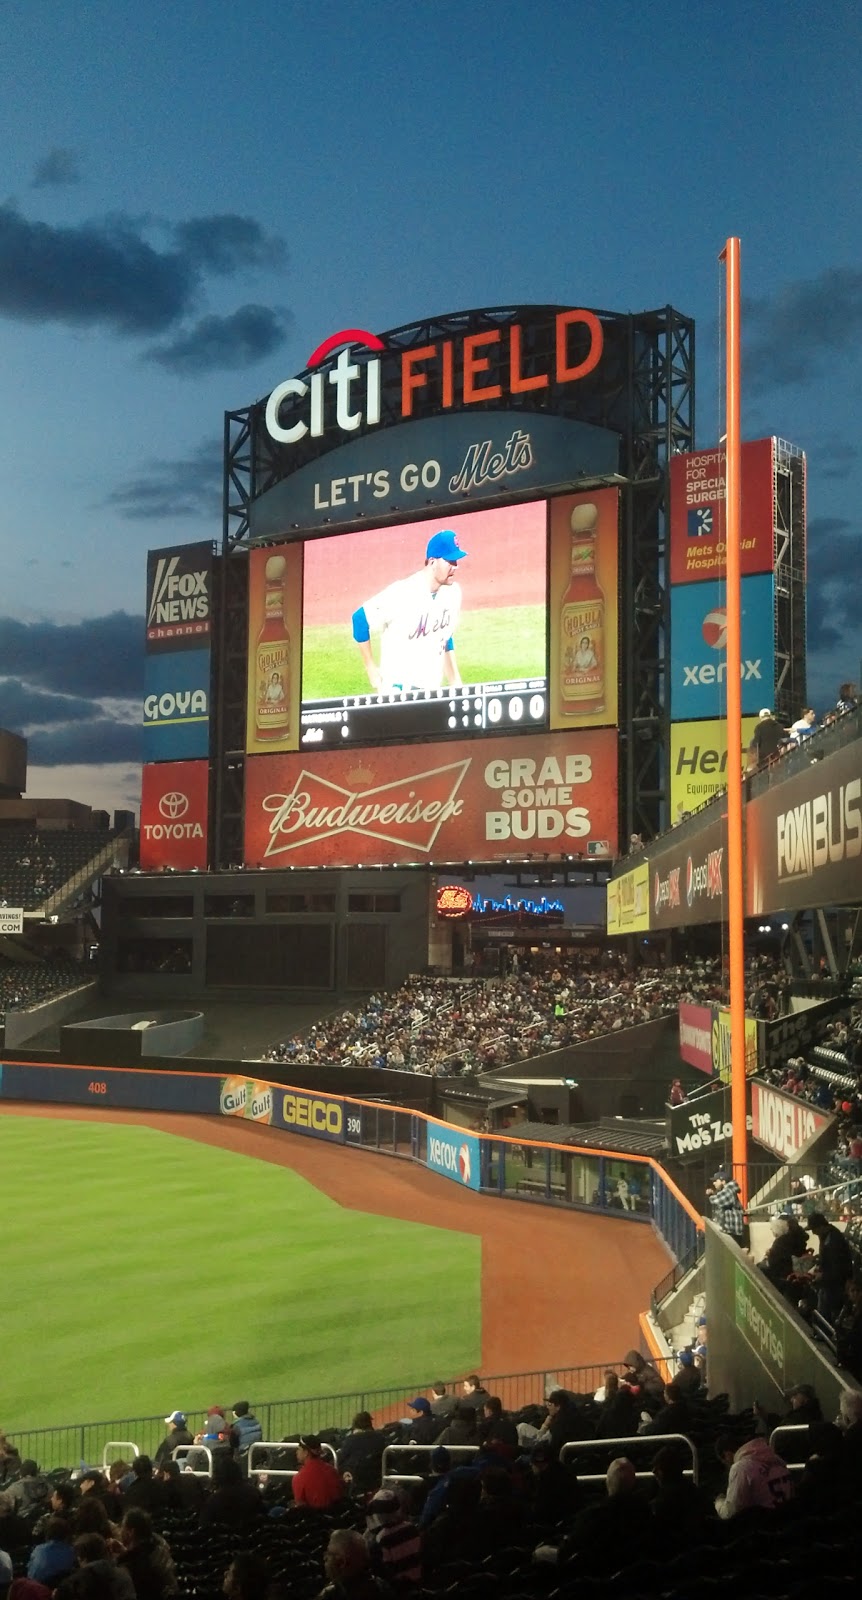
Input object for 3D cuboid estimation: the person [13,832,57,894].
[{"bbox_3d":[-18.884,3.290,74.529,1.491,2.819,0.569,-10,-41,-2],"label":"person"}]
